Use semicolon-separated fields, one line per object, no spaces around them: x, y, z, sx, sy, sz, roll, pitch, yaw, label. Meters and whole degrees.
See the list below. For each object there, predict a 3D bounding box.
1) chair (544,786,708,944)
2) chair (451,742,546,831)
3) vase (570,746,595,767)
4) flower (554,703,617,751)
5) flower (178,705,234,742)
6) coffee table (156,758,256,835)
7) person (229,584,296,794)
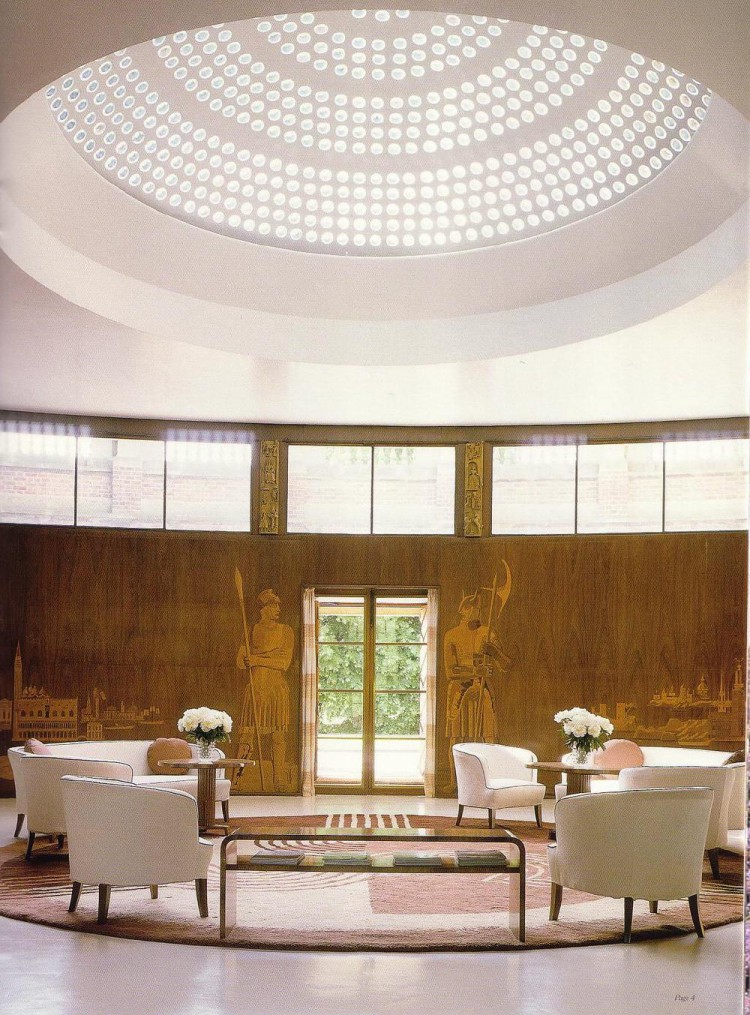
1.303;1.717;5.303;0.726;0.908;0.697;6;-8;-32;chair
1.086;2.377;8.863;0.728;0.919;0.703;13;-21;-37;chair
1.714;2.060;8.342;0.127;0.169;0.144;4;-11;-13;vase
1.734;1.860;8.354;0.425;0.343;0.376;-1;-3;12;flower
-1.417;1.785;8.318;0.353;0.337;0.395;-1;-4;24;flower
-1.404;2.292;8.388;0.750;0.747;0.871;-2;-6;10;coffee table
-1.176;1.861;10.886;0.656;2.348;0.297;0;-2;-6;person
